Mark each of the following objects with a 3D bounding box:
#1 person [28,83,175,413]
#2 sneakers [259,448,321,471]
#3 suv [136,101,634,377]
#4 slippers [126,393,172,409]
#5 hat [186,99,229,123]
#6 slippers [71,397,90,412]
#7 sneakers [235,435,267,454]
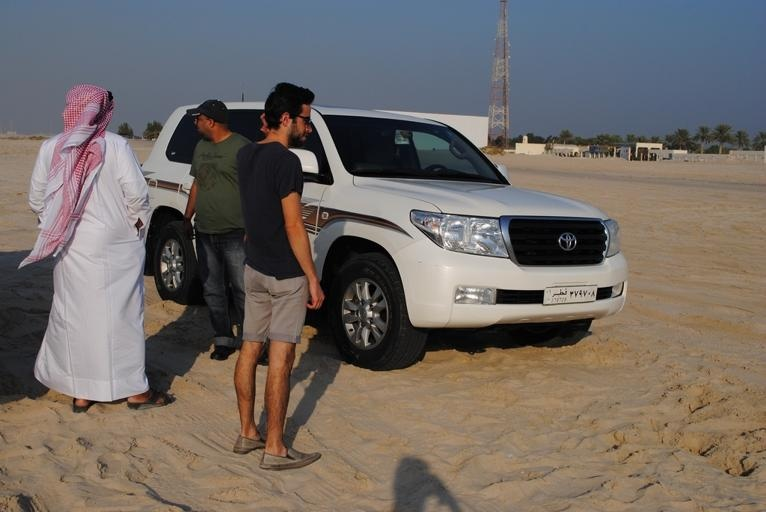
[{"bbox_3d":[-2.409,-0.024,5.498,1.024,2.747,0.528,-2,12,-18],"label":"person"},{"bbox_3d":[-0.709,1.592,5.173,0.420,0.122,0.169,-7,11,-24],"label":"sneakers"},{"bbox_3d":[-0.487,-0.389,8.238,2.955,2.267,5.835,-5,8,-41],"label":"suv"},{"bbox_3d":[-2.051,1.277,5.817,0.295,0.105,0.145,-6,12,-35],"label":"slippers"},{"bbox_3d":[-1.755,-1.476,6.714,0.327,0.230,0.385,-4,12,-25],"label":"hat"},{"bbox_3d":[-2.549,1.263,5.545,0.148,0.097,0.382,3,1,-27],"label":"slippers"},{"bbox_3d":[-1.048,1.528,5.335,0.117,0.100,0.281,5,6,43],"label":"sneakers"}]
